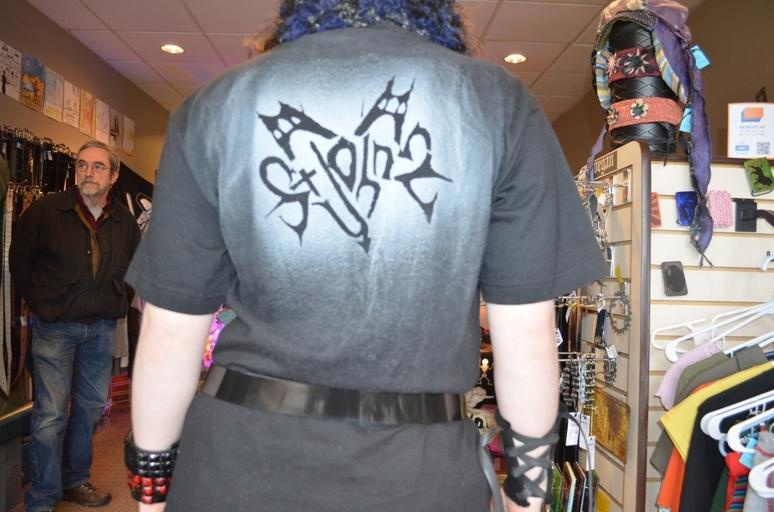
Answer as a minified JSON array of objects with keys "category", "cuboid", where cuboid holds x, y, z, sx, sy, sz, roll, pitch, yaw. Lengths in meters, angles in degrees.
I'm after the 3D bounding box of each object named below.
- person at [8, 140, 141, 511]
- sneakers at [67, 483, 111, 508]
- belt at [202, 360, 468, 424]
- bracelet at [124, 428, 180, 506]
[{"category":"person","cuboid":[-1.997,0.354,3.344,0.347,2.365,0.734,-8,-15,36]},{"category":"sneakers","cuboid":[-1.896,1.486,3.359,0.253,0.115,0.121,7,2,3]},{"category":"belt","cuboid":[-0.113,0.323,1.208,0.557,0.110,0.076,2,-13,-5]},{"category":"bracelet","cuboid":[-0.578,0.529,1.360,0.152,0.156,0.135,7,-3,-2]}]
